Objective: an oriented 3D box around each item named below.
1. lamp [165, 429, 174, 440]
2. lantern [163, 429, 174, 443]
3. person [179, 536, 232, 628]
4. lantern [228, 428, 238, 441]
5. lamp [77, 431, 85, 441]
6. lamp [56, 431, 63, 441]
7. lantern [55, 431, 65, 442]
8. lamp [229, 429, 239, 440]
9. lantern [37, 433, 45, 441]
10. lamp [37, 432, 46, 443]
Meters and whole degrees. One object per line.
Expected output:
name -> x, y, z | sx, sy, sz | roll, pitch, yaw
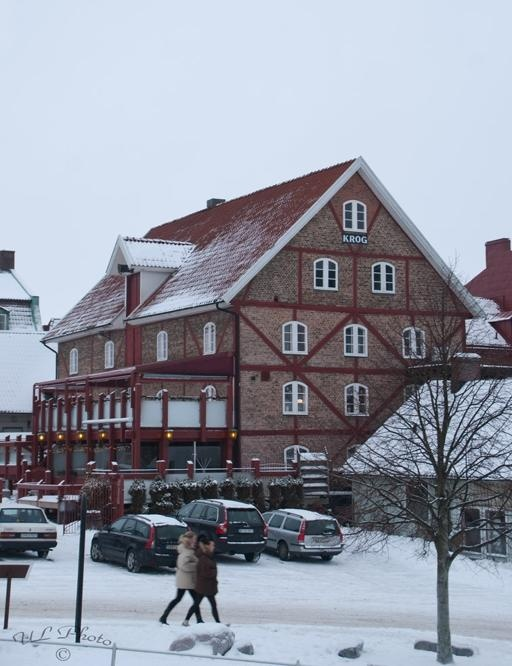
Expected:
lamp -> -2.700, 3.257, 33.949 | 0.300, 0.374, 0.270 | 7, -9, -38
lantern -> -2.761, 3.312, 34.050 | 0.444, 0.522, 0.355 | 1, 3, -9
person -> -0.799, 4.106, 17.441 | 0.562, 1.422, 0.755 | 8, -6, -2
lantern -> -0.708, 3.443, 36.095 | 0.331, 0.381, 0.338 | -1, -12, 5
lamp -> -6.058, 3.619, 37.391 | 0.276, 0.455, 0.287 | -6, -11, 35
lamp -> -7.131, 3.838, 39.224 | 0.253, 0.257, 0.239 | -2, -9, 7
lantern -> -7.112, 3.818, 39.279 | 0.292, 0.261, 0.505 | -1, -9, -4
lamp -> -0.681, 3.443, 36.075 | 0.334, 0.360, 0.294 | 2, -6, 15
lantern -> -8.349, 4.118, 41.819 | 0.251, 0.204, 0.236 | -1, -1, 5
lamp -> -8.379, 4.116, 41.850 | 0.277, 0.274, 0.279 | -12, -17, 40
